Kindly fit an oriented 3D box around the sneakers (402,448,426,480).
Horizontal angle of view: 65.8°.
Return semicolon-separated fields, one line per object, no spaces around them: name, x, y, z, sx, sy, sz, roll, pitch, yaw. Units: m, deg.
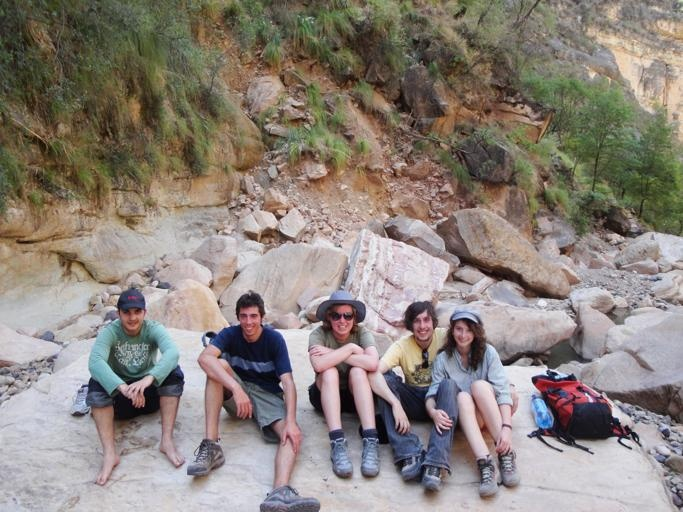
sneakers;0.697;1.994;5.035;0.114;0.162;0.352;-25;-10;17

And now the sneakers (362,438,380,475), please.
sneakers;0.284;1.929;5.048;0.184;0.295;0.234;7;21;2

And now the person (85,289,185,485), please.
person;-2.053;1.206;5.247;0.912;1.491;0.991;-1;22;-20

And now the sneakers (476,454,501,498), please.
sneakers;1.365;2.060;4.900;0.224;0.295;0.239;8;21;2

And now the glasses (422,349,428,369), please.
glasses;0.878;1.094;5.557;0.045;0.177;0.059;3;0;-7

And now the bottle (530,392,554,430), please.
bottle;2.122;1.667;5.627;0.119;0.101;0.320;-18;32;16

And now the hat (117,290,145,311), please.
hat;-2.133;0.439;5.339;0.235;0.176;0.220;-4;24;-28
